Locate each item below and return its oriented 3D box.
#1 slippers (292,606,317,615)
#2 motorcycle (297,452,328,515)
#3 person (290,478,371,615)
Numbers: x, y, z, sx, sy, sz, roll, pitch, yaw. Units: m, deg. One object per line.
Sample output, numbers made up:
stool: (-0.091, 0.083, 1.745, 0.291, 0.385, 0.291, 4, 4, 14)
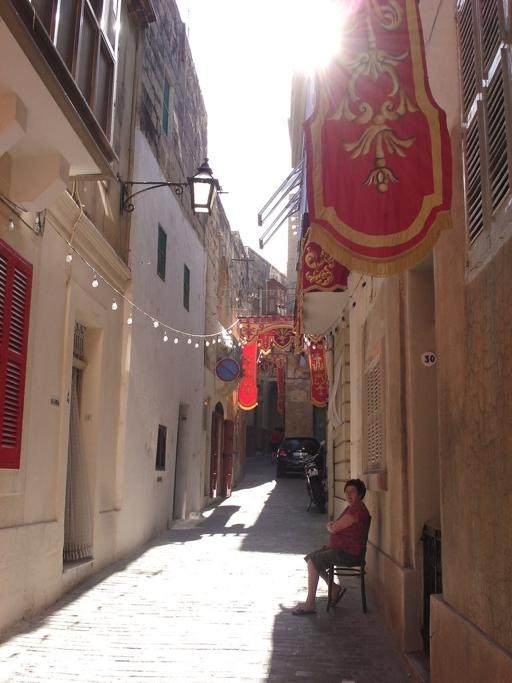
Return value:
slippers: (0.467, 2.672, 4.932, 0.196, 0.107, 0.106, 10, -17, -10)
motorcycle: (1.635, 4.278, 14.410, 0.628, 1.433, 1.872, -2, -29, 4)
person: (0.825, 2.135, 5.299, 0.539, 1.630, 0.445, 9, -1, -9)
